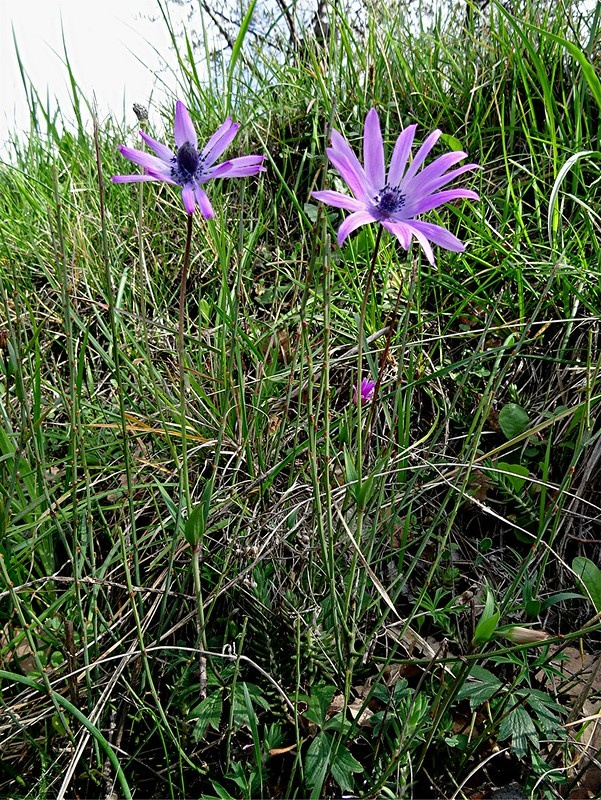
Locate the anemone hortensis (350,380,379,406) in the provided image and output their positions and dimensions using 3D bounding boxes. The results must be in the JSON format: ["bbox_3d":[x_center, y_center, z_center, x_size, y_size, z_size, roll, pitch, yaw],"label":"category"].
[{"bbox_3d":[0.137,-0.015,1.352,0.036,0.036,0.038,-35,50,25],"label":"anemone hortensis"}]

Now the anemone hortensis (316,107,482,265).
[{"bbox_3d":[0.160,-0.386,1.084,0.254,0.130,0.304,4,-2,5],"label":"anemone hortensis"}]
